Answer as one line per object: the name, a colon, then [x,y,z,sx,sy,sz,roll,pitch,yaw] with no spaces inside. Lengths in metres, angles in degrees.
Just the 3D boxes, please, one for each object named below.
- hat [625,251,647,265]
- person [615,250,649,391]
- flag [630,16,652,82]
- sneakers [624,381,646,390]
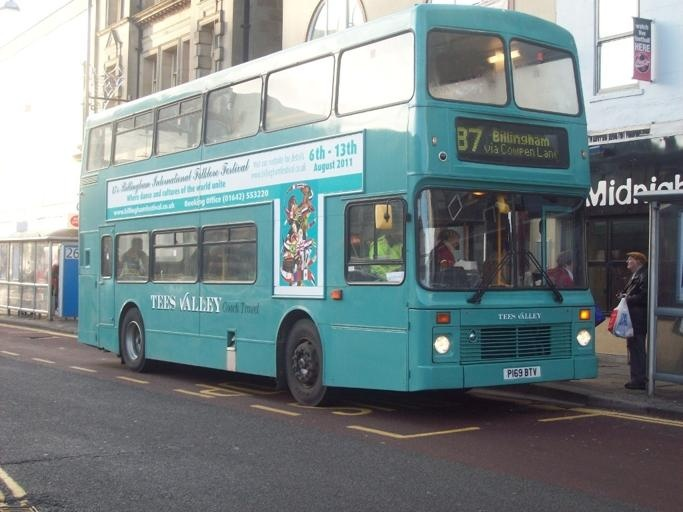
hat: [5.410,0.031,11.969,0.281,0.111,0.251,4,0,-28]
person: [4.980,1.062,11.106,0.401,2.267,0.854,0,-1,25]
flag: [6.324,-4.362,13.761,0.519,1.297,0.176,0,-1,-26]
sneakers: [4.829,2.113,10.756,0.304,0.159,0.129,3,-2,15]
